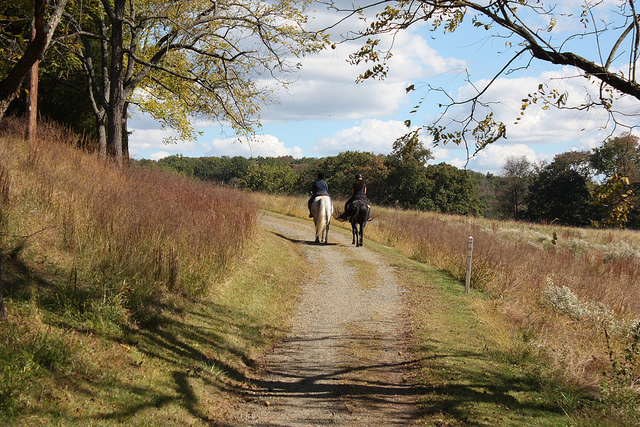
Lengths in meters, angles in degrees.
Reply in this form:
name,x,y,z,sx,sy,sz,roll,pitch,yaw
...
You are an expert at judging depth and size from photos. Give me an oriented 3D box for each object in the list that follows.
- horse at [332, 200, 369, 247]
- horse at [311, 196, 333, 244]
name,x,y,z,sx,sy,sz,roll,pitch,yaw
horse,1.506,0.366,29.072,1.210,1.908,1.289,9,2,-3
horse,0.055,0.212,28.673,0.859,1.880,0.917,9,2,0
